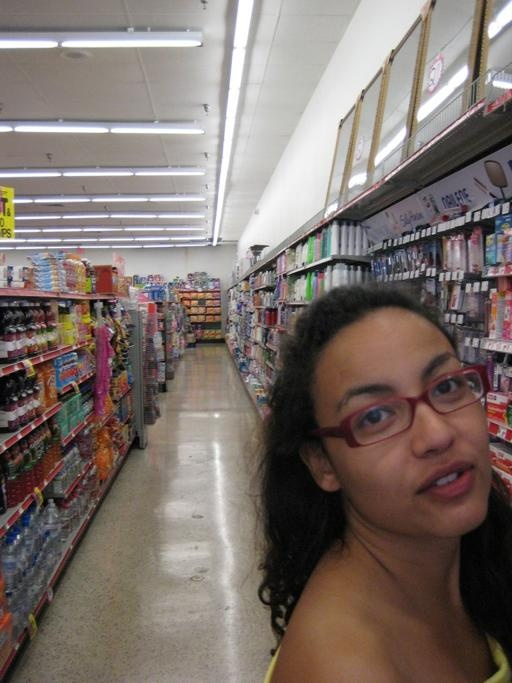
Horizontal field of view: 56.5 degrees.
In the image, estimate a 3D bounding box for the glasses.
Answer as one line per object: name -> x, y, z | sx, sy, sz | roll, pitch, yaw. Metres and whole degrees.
glasses -> 0.277, 0.101, 0.777 | 0.335, 0.118, 0.130 | -1, 4, -20
